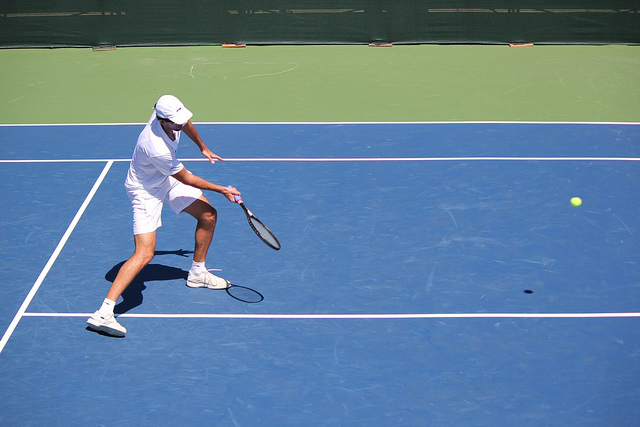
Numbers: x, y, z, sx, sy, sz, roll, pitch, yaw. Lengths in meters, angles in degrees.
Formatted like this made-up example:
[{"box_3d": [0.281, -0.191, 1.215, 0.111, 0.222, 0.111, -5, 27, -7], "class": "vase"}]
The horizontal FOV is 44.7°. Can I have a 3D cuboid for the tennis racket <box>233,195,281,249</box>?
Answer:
[{"box_3d": [-0.772, 0.091, 10.253, 0.673, 0.620, 0.687, 1, 61, -1], "class": "tennis racket"}]

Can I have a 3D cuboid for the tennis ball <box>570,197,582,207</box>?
[{"box_3d": [3.877, -0.175, 11.755, 0.169, 0.070, 0.142, -9, 24, -11], "class": "tennis ball"}]
